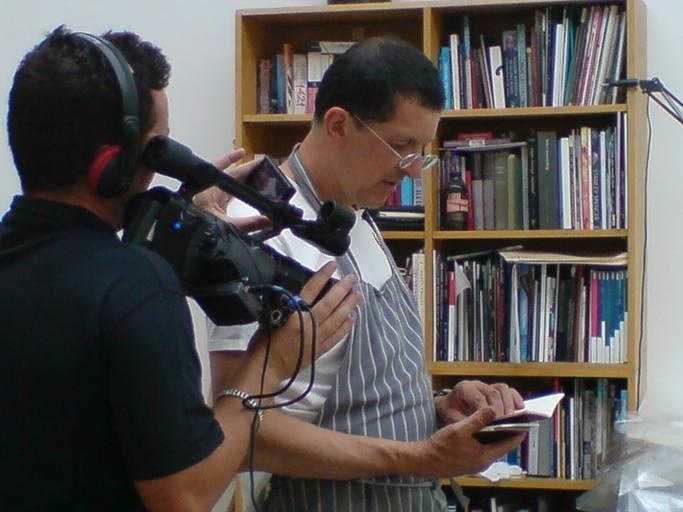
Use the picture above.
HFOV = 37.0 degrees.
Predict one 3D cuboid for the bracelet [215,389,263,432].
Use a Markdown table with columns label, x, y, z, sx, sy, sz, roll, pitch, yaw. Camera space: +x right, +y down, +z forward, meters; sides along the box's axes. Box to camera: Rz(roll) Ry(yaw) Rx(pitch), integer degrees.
| label | x | y | z | sx | sy | sz | roll | pitch | yaw |
| --- | --- | --- | --- | --- | --- | --- | --- | --- | --- |
| bracelet | -0.250 | 0.344 | 2.422 | 0.096 | 0.026 | 0.099 | 28 | -19 | 36 |

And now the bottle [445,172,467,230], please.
| label | x | y | z | sx | sy | sz | roll | pitch | yaw |
| --- | --- | --- | --- | --- | --- | --- | --- | --- | --- |
| bottle | 0.427 | -0.211 | 3.861 | 0.070 | 0.222 | 0.078 | 1 | -1 | 5 |

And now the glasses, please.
| label | x | y | z | sx | sy | sz | roll | pitch | yaw |
| --- | --- | --- | --- | --- | --- | --- | --- | --- | --- |
| glasses | 0.139 | -0.317 | 2.868 | 0.058 | 0.208 | 0.149 | -32 | -8 | 10 |

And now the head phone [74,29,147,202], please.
| label | x | y | z | sx | sy | sz | roll | pitch | yaw |
| --- | --- | --- | --- | --- | --- | --- | --- | --- | --- |
| head phone | -0.563 | -0.283 | 2.360 | 0.092 | 0.349 | 0.294 | 5 | -2 | -43 |
